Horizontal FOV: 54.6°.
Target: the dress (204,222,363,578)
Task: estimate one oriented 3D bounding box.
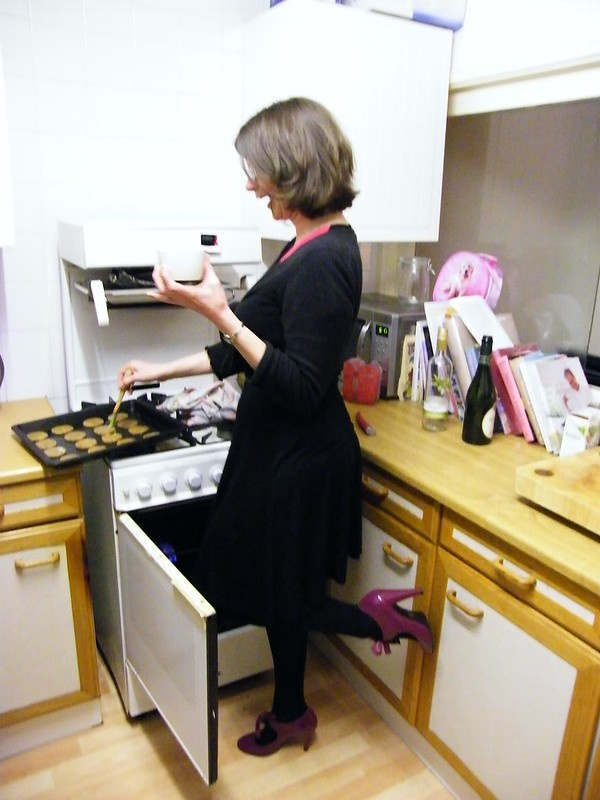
[{"bbox_3d":[-0.030,0.036,1.154,0.312,0.754,0.362,2,9,7],"label":"dress"}]

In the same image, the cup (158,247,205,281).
[{"bbox_3d":[-0.211,-0.263,1.063,0.062,0.059,0.068,1,14,0],"label":"cup"}]

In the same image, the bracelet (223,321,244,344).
[{"bbox_3d":[-0.109,-0.109,0.997,0.013,0.039,0.034,29,-29,-15],"label":"bracelet"}]

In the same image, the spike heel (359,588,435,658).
[{"bbox_3d":[0.211,0.476,1.239,0.082,0.098,0.258,5,-20,5],"label":"spike heel"}]

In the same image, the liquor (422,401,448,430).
[{"bbox_3d":[0.359,0.039,1.550,0.055,0.093,0.070,1,6,3],"label":"liquor"}]

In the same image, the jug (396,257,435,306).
[{"bbox_3d":[0.364,-0.392,1.896,0.093,0.174,0.136,4,8,28],"label":"jug"}]

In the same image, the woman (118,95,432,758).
[{"bbox_3d":[-0.050,0.120,1.272,0.511,1.423,0.443,-2,11,-29],"label":"woman"}]

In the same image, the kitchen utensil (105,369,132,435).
[{"bbox_3d":[-0.466,0.009,1.505,0.022,0.170,0.016,7,-9,20],"label":"kitchen utensil"}]
